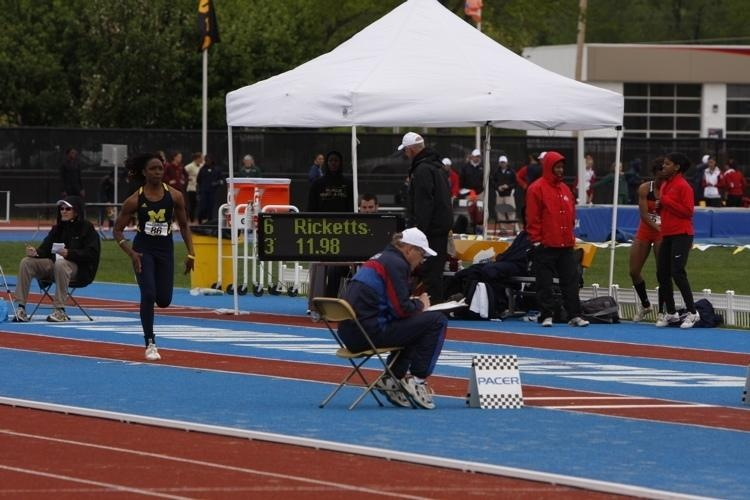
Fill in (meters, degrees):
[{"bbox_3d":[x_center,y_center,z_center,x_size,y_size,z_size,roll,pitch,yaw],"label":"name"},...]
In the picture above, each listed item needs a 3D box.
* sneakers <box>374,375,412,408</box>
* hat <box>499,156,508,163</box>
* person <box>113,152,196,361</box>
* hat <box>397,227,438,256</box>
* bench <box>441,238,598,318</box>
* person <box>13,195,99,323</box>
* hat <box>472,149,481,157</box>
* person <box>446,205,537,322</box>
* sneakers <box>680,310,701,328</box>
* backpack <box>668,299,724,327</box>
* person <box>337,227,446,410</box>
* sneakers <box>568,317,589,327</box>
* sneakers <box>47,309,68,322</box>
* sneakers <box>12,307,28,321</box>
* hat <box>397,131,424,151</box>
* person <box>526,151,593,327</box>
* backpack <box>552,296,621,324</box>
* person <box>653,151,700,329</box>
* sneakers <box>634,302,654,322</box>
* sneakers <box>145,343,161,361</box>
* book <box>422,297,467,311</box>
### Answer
[{"bbox_3d":[0.239,1.712,14.218,0.420,0.187,0.143,38,19,4],"label":"sneakers"},{"bbox_3d":[3.692,-2.600,33.817,0.310,0.243,0.497,-2,1,8],"label":"hat"},{"bbox_3d":[-3.055,0.096,16.465,0.988,2.848,0.649,-1,3,-30],"label":"person"},{"bbox_3d":[0.533,-0.105,14.251,0.433,0.222,0.277,22,6,-4],"label":"hat"},{"bbox_3d":[2.316,0.487,20.327,2.123,0.948,1.293,0,0,-29],"label":"bench"},{"bbox_3d":[-5.097,0.182,19.071,1.246,2.019,0.580,1,2,-7],"label":"person"},{"bbox_3d":[2.755,-2.601,31.779,0.225,0.116,0.348,1,4,-7],"label":"hat"},{"bbox_3d":[2.073,0.342,20.439,1.216,1.345,1.046,-10,7,-16],"label":"person"},{"bbox_3d":[5.174,1.177,19.423,0.413,0.186,0.150,-42,16,-32],"label":"sneakers"},{"bbox_3d":[5.333,1.087,19.575,1.071,0.449,0.360,2,-2,-21],"label":"backpack"},{"bbox_3d":[0.246,0.825,14.178,1.223,2.137,0.470,1,2,-2],"label":"person"},{"bbox_3d":[3.373,1.206,19.491,0.309,0.133,0.136,1,3,18],"label":"sneakers"},{"bbox_3d":[-5.134,1.084,19.255,0.154,0.163,0.384,10,-6,24],"label":"sneakers"},{"bbox_3d":[-5.761,1.076,19.197,0.131,0.140,0.327,1,4,-2],"label":"sneakers"},{"bbox_3d":[0.506,-1.642,18.290,0.450,0.266,0.319,-2,14,17],"label":"hat"},{"bbox_3d":[2.934,-0.156,19.221,0.969,2.849,0.469,1,2,-4],"label":"person"},{"bbox_3d":[3.716,1.048,20.096,0.727,0.284,0.577,-2,4,1],"label":"backpack"},{"bbox_3d":[4.916,-0.115,19.151,0.611,2.850,0.680,1,2,16],"label":"person"},{"bbox_3d":[4.643,1.075,20.343,0.156,0.337,0.114,45,2,-33],"label":"sneakers"},{"bbox_3d":[-3.077,1.429,16.341,0.143,0.126,0.275,-2,1,-31],"label":"sneakers"},{"bbox_3d":[0.871,0.684,14.094,0.347,0.092,0.349,-3,4,31],"label":"book"}]
